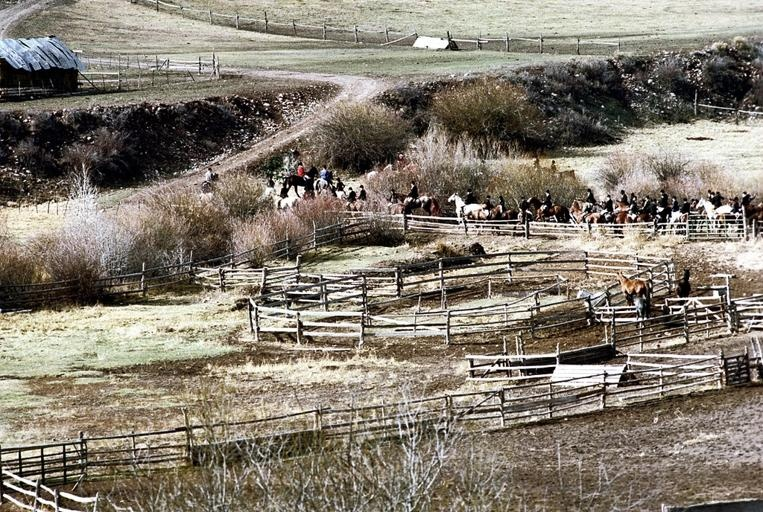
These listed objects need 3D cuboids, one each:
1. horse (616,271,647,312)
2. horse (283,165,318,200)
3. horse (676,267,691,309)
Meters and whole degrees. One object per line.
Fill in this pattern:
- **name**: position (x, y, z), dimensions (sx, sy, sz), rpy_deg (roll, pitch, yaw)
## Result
- **horse**: position (12.398, 1.661, 84.540), dimensions (0.642, 1.734, 2.299), rpy_deg (-11, 8, -33)
- **horse**: position (-4.721, -4.427, 102.859), dimensions (2.350, 1.725, 0.623), rpy_deg (-6, 4, -12)
- **horse**: position (14.907, 1.643, 84.798), dimensions (0.542, 1.519, 1.885), rpy_deg (8, 40, 17)
